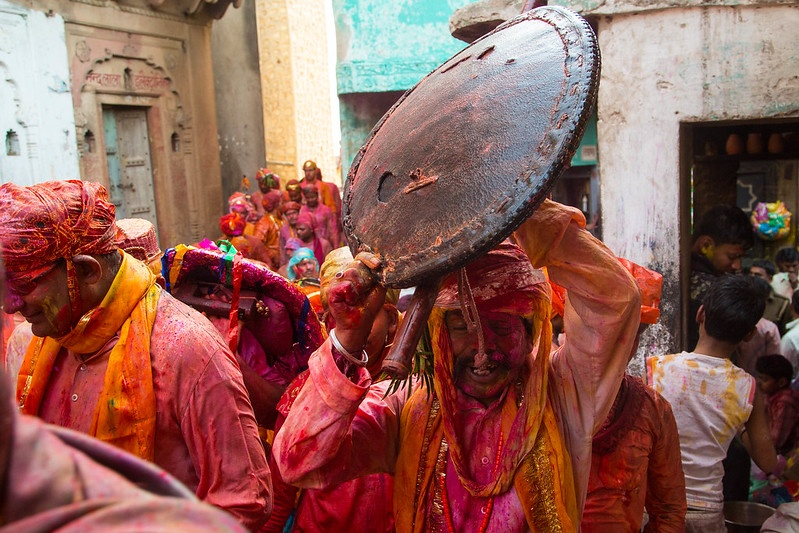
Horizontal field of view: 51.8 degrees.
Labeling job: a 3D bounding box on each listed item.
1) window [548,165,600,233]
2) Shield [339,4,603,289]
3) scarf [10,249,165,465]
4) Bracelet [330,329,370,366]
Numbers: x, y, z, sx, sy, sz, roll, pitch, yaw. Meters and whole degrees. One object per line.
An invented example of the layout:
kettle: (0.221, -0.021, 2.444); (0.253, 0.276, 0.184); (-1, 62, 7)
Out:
window: (3.195, -1.492, 15.343); (0.553, 1.117, 0.548); (7, 38, 47)
Shield: (0.325, -0.500, 3.524); (0.380, 1.216, 1.124); (42, 2, -40)
scarf: (-1.484, 0.435, 3.943); (0.744, 0.946, 0.505); (12, -7, 13)
Bracelet: (-0.240, 0.413, 3.810); (0.171, 0.034, 0.173); (-36, 23, 7)
